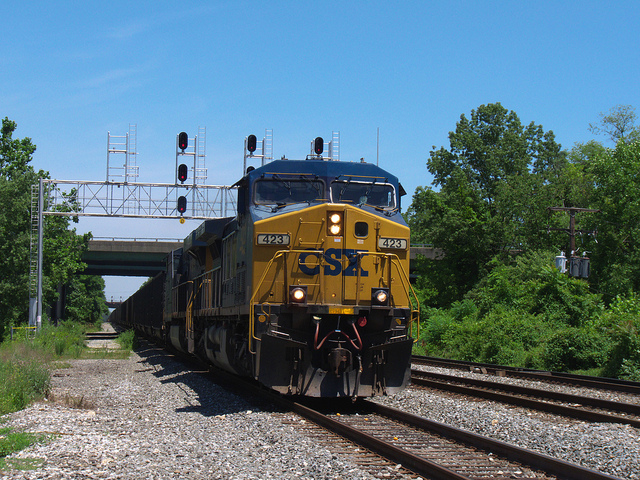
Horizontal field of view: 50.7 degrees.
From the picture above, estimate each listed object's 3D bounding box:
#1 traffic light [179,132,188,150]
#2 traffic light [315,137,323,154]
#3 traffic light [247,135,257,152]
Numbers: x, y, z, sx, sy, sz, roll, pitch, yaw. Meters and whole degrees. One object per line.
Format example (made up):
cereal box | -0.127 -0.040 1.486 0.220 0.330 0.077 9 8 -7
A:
traffic light | -6.244 -4.490 30.555 0.313 0.663 0.390 0 -1 -9
traffic light | -0.061 -3.303 23.571 0.237 0.425 0.532 1 -1 -10
traffic light | -2.960 -4.216 29.263 0.319 0.585 0.356 1 -1 -17
